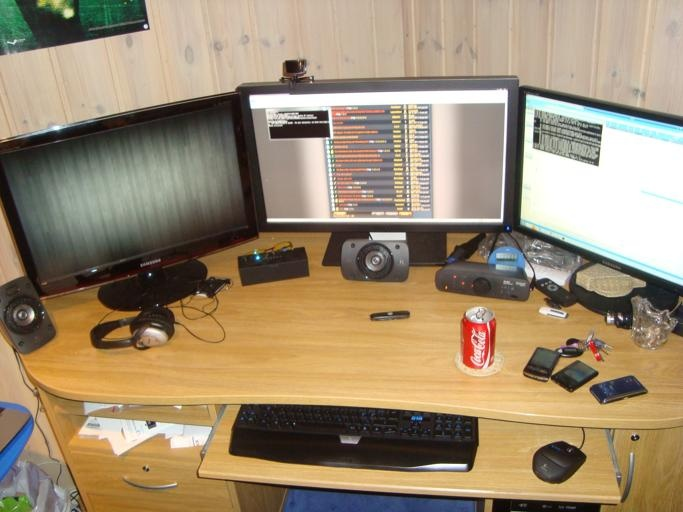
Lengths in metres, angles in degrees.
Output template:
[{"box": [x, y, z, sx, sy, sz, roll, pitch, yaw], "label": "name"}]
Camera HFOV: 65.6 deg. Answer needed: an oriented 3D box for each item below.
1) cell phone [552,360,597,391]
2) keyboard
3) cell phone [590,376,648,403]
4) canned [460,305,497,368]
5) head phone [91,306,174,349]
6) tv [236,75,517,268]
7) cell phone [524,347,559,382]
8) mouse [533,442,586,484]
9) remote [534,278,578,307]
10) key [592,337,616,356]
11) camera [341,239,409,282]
[{"box": [0.638, 0.329, 1.456, 0.107, 0.039, 0.067, -15, 26, -29], "label": "cell phone"}, {"box": [0.035, 0.523, 1.545, 0.705, 0.092, 0.161, 1, 23, 7], "label": "keyboard"}, {"box": [0.729, 0.353, 1.404, 0.120, 0.015, 0.061, -10, 32, -1], "label": "cell phone"}, {"box": [0.380, 0.228, 1.463, 0.101, 0.177, 0.085, 1, 24, 17], "label": "canned"}, {"box": [-0.658, 0.244, 1.681, 0.233, 0.076, 0.180, 0, 16, -2], "label": "head phone"}, {"box": [0.147, -0.362, 1.834, 0.916, 0.590, 0.106, 3, 29, 8], "label": "tv"}, {"box": [0.558, 0.306, 1.482, 0.081, 0.014, 0.136, 14, 43, 29], "label": "cell phone"}, {"box": [0.578, 0.555, 1.436, 0.132, 0.061, 0.088, -18, 28, -33], "label": "mouse"}, {"box": [0.700, 0.115, 1.719, 0.061, 0.028, 0.110, -19, 38, -23], "label": "remote"}, {"box": [0.753, 0.260, 1.535, 0.080, 0.022, 0.021, 23, 1, -10], "label": "key"}, {"box": [0.143, -0.030, 1.962, 0.264, 0.141, 0.271, 5, 24, 18], "label": "camera"}]
